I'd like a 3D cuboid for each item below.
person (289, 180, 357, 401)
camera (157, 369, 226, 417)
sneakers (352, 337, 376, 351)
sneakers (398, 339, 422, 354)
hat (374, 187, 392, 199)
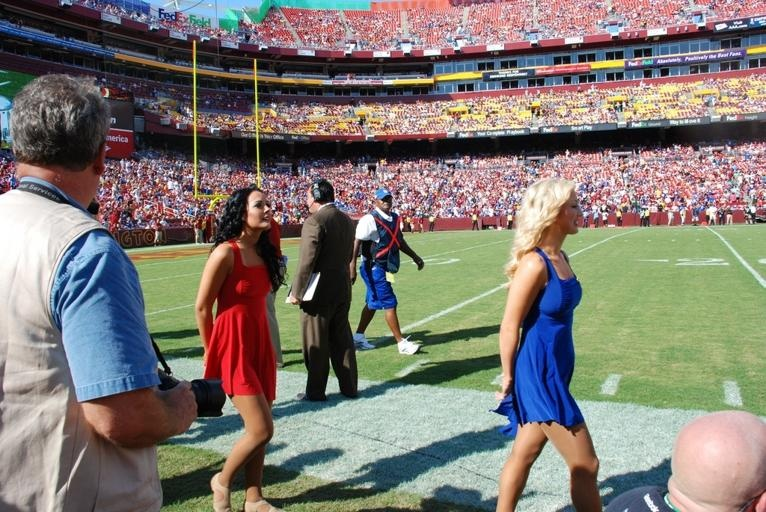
[{"bbox_3d":[-0.586,0.461,5.614,0.668,1.875,0.375,-2,7,-15],"label":"person"},{"bbox_3d":[-0.760,0.582,2.424,0.369,0.158,0.147,15,34,-38],"label":"camera"},{"bbox_3d":[-0.284,1.158,7.654,0.340,0.243,0.123,3,6,-15],"label":"sneakers"},{"bbox_3d":[0.309,1.148,7.306,0.303,0.158,0.132,-13,1,34],"label":"sneakers"},{"bbox_3d":[-0.019,-0.751,7.127,0.179,0.139,0.297,5,-2,-6],"label":"hat"}]
